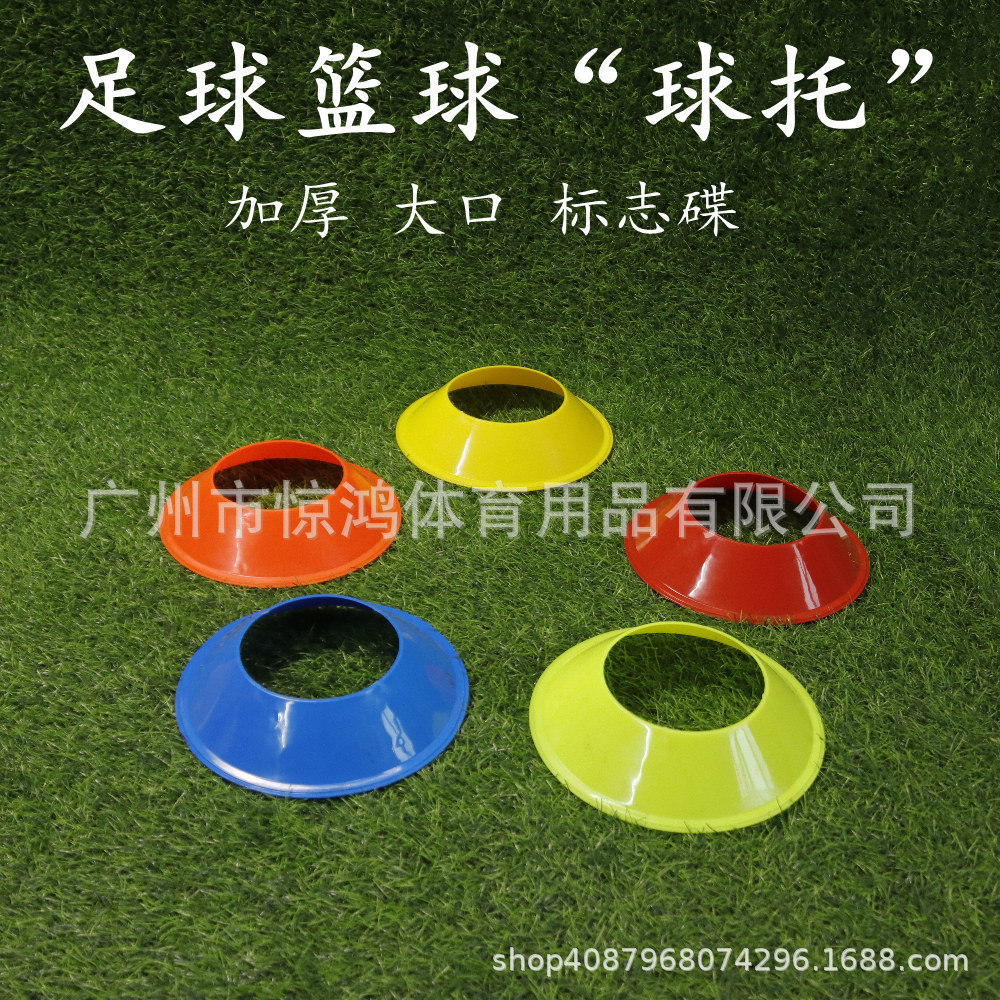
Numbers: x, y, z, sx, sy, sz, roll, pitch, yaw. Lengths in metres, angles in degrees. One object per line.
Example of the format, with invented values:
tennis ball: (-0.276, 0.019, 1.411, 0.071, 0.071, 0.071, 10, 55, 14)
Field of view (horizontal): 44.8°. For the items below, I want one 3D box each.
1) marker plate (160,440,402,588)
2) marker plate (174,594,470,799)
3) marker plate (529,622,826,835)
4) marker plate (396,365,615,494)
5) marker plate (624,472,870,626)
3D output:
marker plate: (-0.524, 0.052, 3.291, 0.549, 0.101, 0.494, 23, 38, 23)
marker plate: (-0.423, 0.406, 2.834, 0.676, 0.121, 0.563, 12, 46, 10)
marker plate: (0.414, 0.554, 2.803, 0.653, 0.136, 0.553, -23, 110, -28)
marker plate: (0.043, -0.158, 3.540, 0.526, 0.098, 0.493, -23, 45, -30)
marker plate: (0.676, 0.168, 3.244, 0.610, 0.547, 0.117, -1, 102, -22)
